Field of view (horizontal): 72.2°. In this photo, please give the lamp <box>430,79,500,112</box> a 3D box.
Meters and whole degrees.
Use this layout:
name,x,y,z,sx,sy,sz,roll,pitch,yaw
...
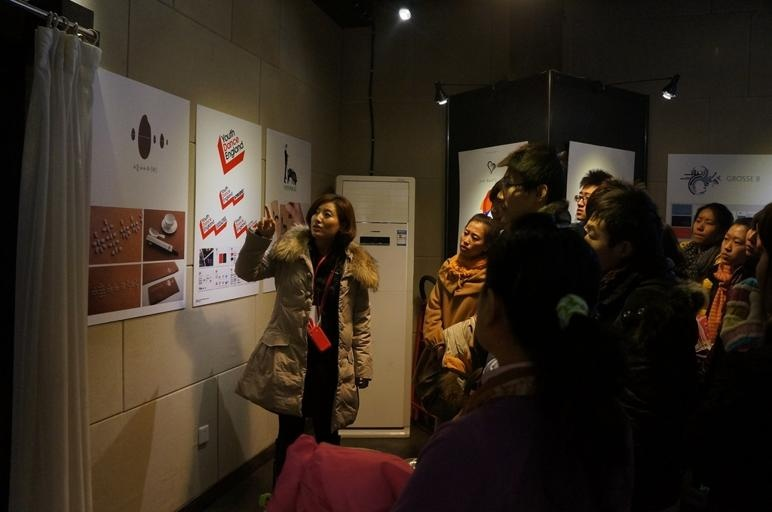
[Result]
name,x,y,z,sx,sy,sz,roll,pitch,yaw
lamp,0.698,-1.458,4.672,0.554,0.277,0.521,2,4,4

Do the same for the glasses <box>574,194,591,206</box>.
name,x,y,z,sx,sy,sz,roll,pitch,yaw
glasses,0.655,-0.193,1.781,0.061,0.022,0.066,8,-2,41

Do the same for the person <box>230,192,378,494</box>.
name,x,y,z,sx,sy,sz,roll,pitch,yaw
person,-0.513,0.517,3.460,0.904,1.844,0.389,1,3,-4
